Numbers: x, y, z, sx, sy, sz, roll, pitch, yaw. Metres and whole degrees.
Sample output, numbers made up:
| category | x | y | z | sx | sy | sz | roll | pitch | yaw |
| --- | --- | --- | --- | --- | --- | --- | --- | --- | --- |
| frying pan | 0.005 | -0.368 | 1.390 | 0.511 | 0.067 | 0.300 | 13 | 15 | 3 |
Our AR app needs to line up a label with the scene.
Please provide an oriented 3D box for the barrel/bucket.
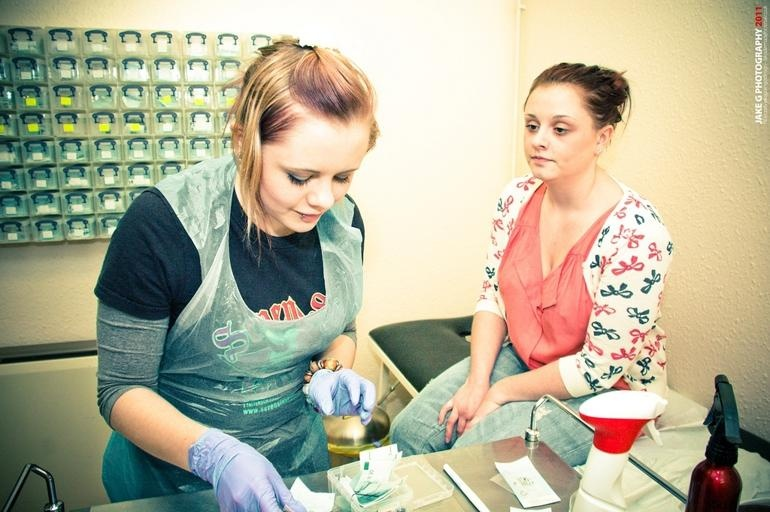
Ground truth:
| category | x | y | z | sx | sy | sz | roll | pitch | yaw |
| --- | --- | --- | --- | --- | --- | --- | --- | --- | --- |
| barrel/bucket | -0.146 | 0.894 | 3.113 | 0.323 | 0.276 | 0.309 | 0 | 4 | 0 |

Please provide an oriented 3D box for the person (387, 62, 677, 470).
| category | x | y | z | sx | sy | sz | roll | pitch | yaw |
| --- | --- | --- | --- | --- | --- | --- | --- | --- | --- |
| person | 0.629 | 0.009 | 2.537 | 1.081 | 1.619 | 0.603 | -4 | 9 | -12 |
